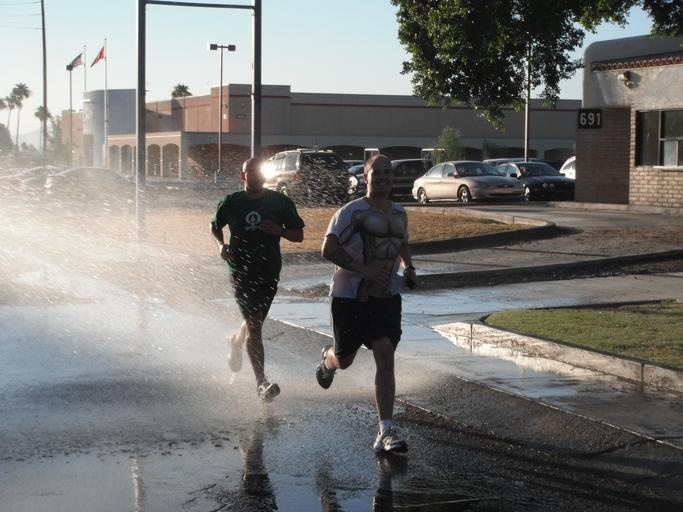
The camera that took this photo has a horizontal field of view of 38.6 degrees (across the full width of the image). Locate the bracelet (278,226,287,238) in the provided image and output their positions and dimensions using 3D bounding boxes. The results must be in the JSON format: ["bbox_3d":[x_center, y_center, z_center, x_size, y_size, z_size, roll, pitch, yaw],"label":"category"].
[{"bbox_3d":[-0.566,-0.215,9.094,0.063,0.094,0.095,0,2,-5],"label":"bracelet"}]

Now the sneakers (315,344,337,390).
[{"bbox_3d":[-0.121,1.009,8.654,0.162,0.434,0.203,-7,25,-22],"label":"sneakers"}]

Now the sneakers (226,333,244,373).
[{"bbox_3d":[-1.071,0.969,9.651,0.138,0.396,0.172,-4,10,-7],"label":"sneakers"}]

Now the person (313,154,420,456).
[{"bbox_3d":[0.205,0.349,7.957,0.755,2.325,0.875,0,6,4],"label":"person"}]

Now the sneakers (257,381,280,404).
[{"bbox_3d":[-0.697,1.236,8.801,0.122,0.172,0.225,-5,8,-44],"label":"sneakers"}]

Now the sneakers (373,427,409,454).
[{"bbox_3d":[0.374,1.479,7.739,0.134,0.163,0.340,7,-9,-34],"label":"sneakers"}]

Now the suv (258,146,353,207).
[{"bbox_3d":[-1.358,-2.861,32.659,1.964,1.544,3.435,-4,15,-25],"label":"suv"}]

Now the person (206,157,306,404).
[{"bbox_3d":[-0.814,0.180,9.172,0.845,2.187,1.115,-1,6,-8],"label":"person"}]
